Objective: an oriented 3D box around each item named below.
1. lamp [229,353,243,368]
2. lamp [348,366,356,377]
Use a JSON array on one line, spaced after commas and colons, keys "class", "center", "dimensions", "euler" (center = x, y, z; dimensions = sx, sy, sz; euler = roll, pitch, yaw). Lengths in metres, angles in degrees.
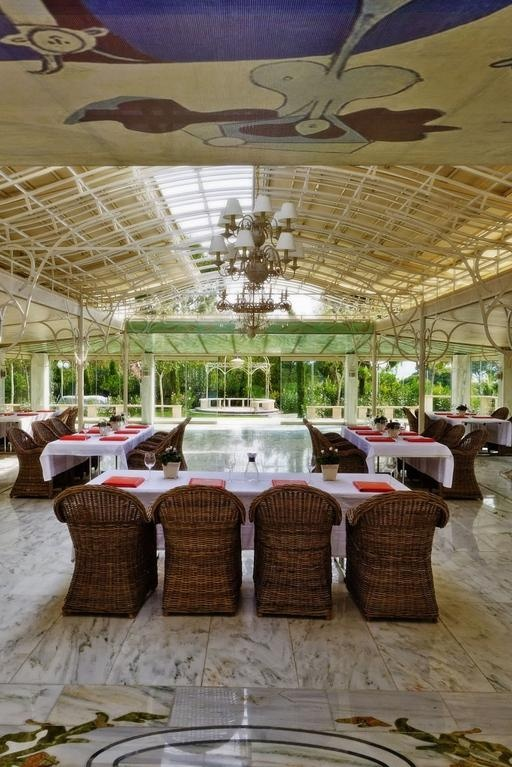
[{"class": "lamp", "center": [-0.773, -0.860, 19.499], "dimensions": [0.555, 0.465, 0.475], "euler": [2, -4, -15]}, {"class": "lamp", "center": [3.775, -0.422, 18.893], "dimensions": [0.257, 0.282, 0.259], "euler": [0, 5, 8]}]
